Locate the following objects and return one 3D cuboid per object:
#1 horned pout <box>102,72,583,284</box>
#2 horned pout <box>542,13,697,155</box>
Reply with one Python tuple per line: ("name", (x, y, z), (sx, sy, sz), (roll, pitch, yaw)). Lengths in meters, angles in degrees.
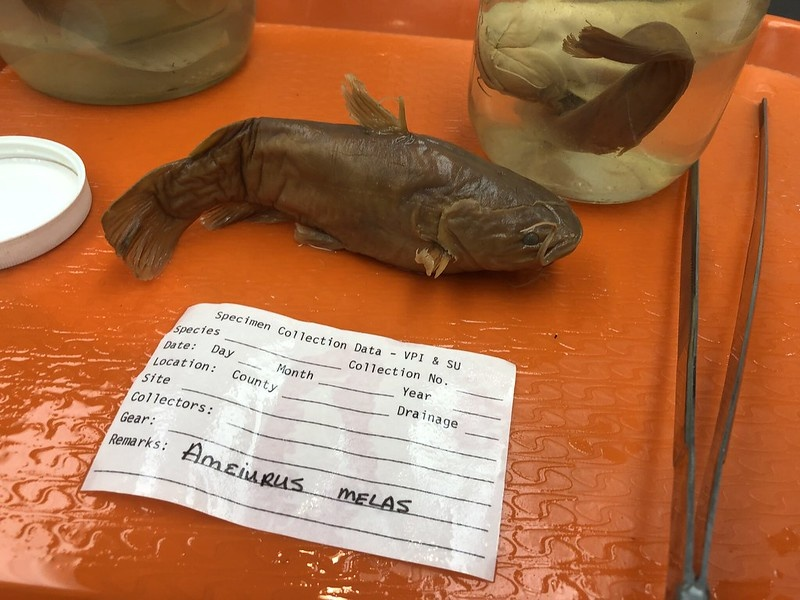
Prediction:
("horned pout", (-0.088, -0.177, 1.307), (0.736, 0.304, 0.265), (9, 40, 0))
("horned pout", (0.327, -0.313, 1.248), (0.188, 0.218, 0.078), (14, 62, 2))
